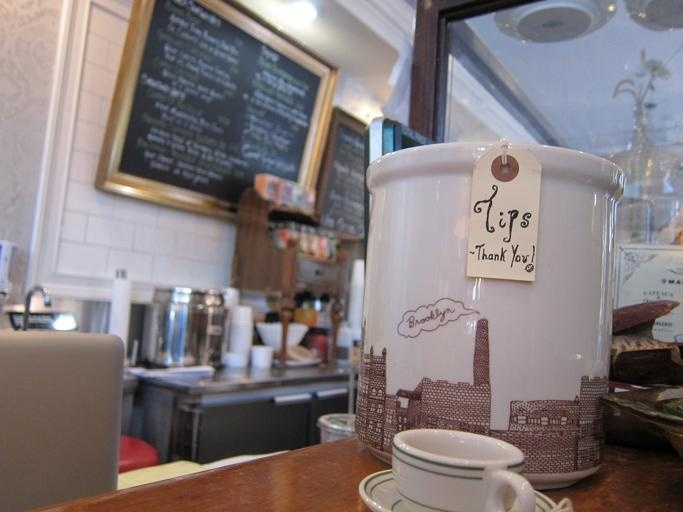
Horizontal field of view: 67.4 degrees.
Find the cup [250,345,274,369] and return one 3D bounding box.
[{"bbox_3d":[-0.398,0.495,2.538,0.103,0.105,0.109,2,-6,0],"label":"cup"}]

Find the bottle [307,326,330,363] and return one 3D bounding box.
[{"bbox_3d":[-0.123,0.543,3.105,0.165,0.176,0.167,1,-7,-3],"label":"bottle"}]

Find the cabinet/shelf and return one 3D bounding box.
[{"bbox_3d":[-0.506,0.268,2.386,0.464,1.201,1.279,-4,-7,25],"label":"cabinet/shelf"}]
